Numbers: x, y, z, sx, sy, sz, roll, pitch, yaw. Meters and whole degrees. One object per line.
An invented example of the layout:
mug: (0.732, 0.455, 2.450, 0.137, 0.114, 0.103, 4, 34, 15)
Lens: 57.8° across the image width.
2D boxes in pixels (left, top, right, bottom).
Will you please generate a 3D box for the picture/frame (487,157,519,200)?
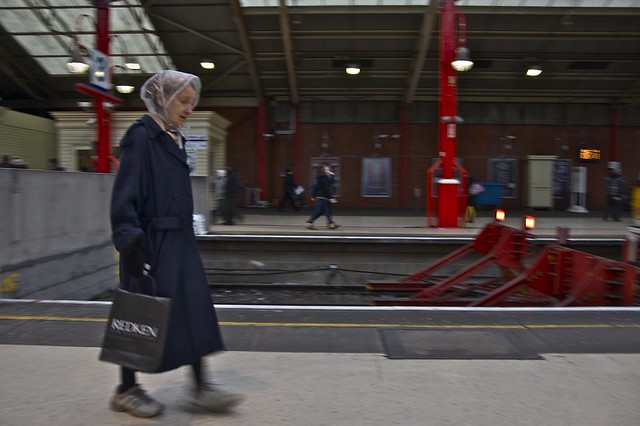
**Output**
picture/frame: (5.499, -1.057, 17.206, 1.054, 1.149, 0.607, 1, 5, -6)

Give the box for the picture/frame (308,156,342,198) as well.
picture/frame: (0.153, -1.265, 19.951, 1.780, 1.541, 0.102, -4, 6, -44)

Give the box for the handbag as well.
handbag: (-1.774, 1.143, 5.616, 0.656, 0.798, 0.193, 2, 5, 9)

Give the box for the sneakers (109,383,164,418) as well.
sneakers: (-1.805, 1.900, 5.855, 0.582, 0.191, 0.258, 4, -4, 4)
